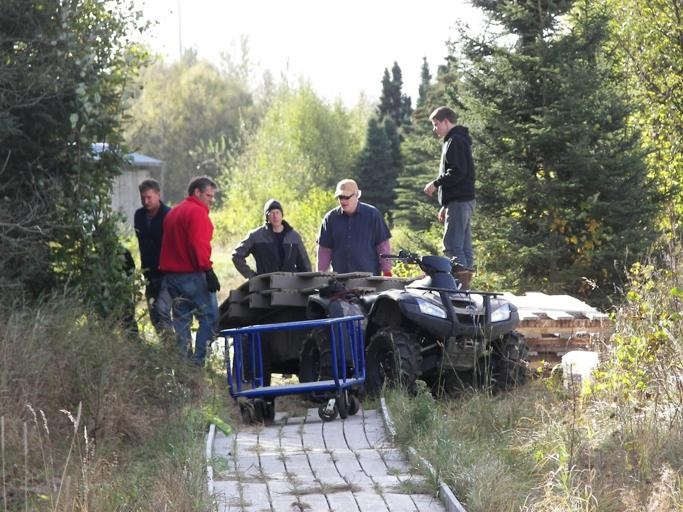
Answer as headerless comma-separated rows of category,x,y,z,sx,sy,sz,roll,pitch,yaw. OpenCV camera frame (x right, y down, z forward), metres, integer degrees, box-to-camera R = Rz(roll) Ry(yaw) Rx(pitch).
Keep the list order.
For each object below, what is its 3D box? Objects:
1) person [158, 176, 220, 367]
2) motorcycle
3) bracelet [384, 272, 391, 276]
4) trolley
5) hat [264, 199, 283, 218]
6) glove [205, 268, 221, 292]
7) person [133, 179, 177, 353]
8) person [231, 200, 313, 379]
person,-2.160,0.169,15.522,0.837,2.652,0.761,-2,-3,-8
motorcycle,1.057,1.079,15.267,1.535,1.958,2.679,3,-8,-39
bracelet,0.700,0.255,16.803,0.060,0.085,0.067,-5,9,-22
trolley,-0.589,1.535,14.400,1.393,1.358,1.423,-10,-2,14
hat,-1.074,-0.765,17.100,0.193,0.292,0.298,2,-8,-10
glove,-1.816,0.293,15.699,0.179,0.357,0.105,-5,3,23
person,-2.814,0.260,16.874,0.643,2.716,0.748,-4,21,-3
person,-1.057,0.498,16.852,1.093,2.865,0.625,-5,-33,0
